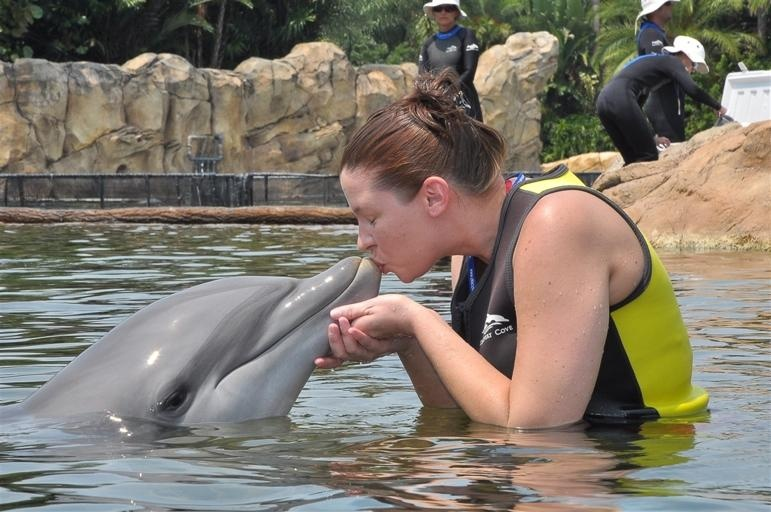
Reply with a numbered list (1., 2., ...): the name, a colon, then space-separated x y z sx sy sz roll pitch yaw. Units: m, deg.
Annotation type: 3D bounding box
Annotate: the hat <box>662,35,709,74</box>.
1. hat: 4.288 -2.894 19.723 0.830 0.373 0.625 18 4 -6
